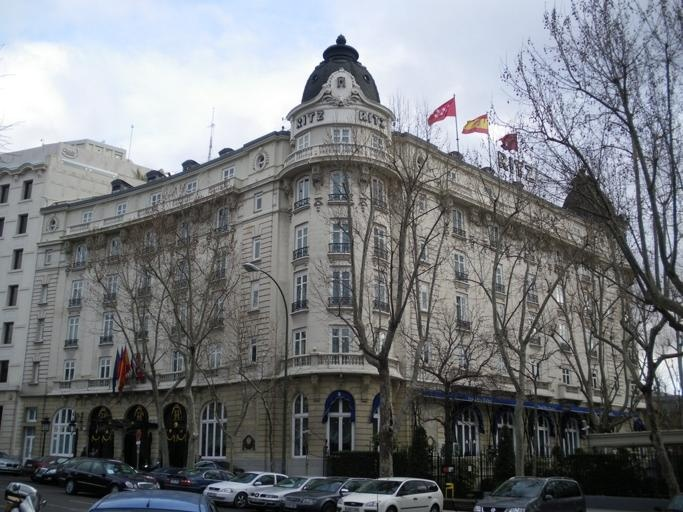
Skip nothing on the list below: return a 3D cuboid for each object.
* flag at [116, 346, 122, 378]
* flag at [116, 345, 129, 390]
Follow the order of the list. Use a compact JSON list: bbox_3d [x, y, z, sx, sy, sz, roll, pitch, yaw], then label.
[{"bbox_3d":[-18.974,9.194,60.776,0.331,2.299,0.452,3,-60,-15],"label":"flag"},{"bbox_3d":[-18.467,9.448,60.264,0.902,3.714,3.194,5,-21,-17],"label":"flag"}]
